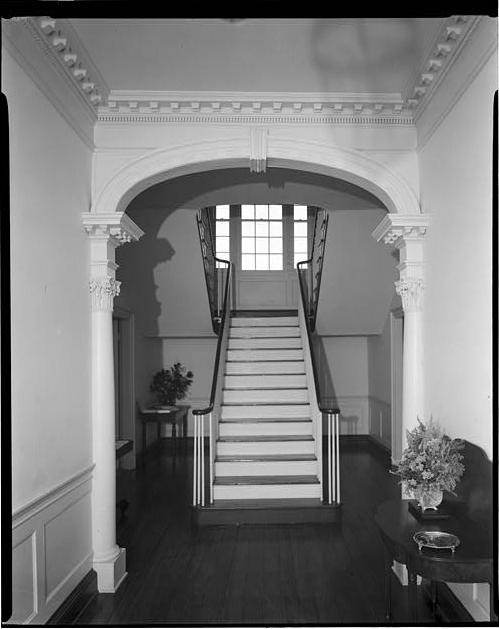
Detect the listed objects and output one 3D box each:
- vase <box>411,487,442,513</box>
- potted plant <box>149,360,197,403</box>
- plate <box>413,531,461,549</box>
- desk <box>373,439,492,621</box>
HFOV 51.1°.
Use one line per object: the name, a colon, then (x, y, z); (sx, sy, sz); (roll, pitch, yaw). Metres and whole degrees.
vase: (1.035, 1.069, 3.055); (0.116, 0.160, 0.151); (0, -5, -12)
potted plant: (-1.410, 1.280, 9.562); (0.808, 0.781, 1.178); (0, -3, -11)
plate: (0.966, 1.166, 2.686); (0.241, 0.030, 0.213); (-1, -3, 3)
desk: (1.083, 1.292, 3.044); (0.308, 1.204, 0.994); (1, -3, 6)
